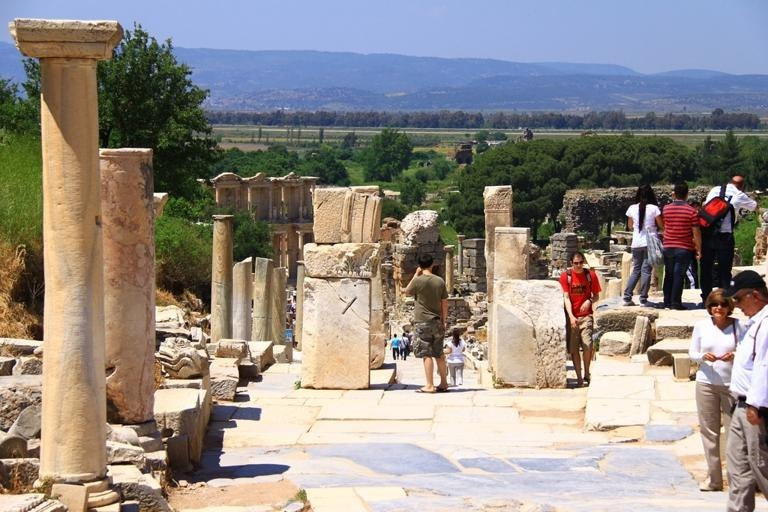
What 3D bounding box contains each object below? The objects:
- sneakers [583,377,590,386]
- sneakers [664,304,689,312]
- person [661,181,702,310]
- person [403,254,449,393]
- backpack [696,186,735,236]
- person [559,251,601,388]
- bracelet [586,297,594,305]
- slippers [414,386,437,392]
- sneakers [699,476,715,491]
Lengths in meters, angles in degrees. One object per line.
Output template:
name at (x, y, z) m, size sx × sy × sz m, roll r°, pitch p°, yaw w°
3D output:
sneakers at (2.975, 1.843, 16.496) m, size 0.119 × 0.126 × 0.114 m, roll 1°, pitch -8°, yaw 0°
sneakers at (4.573, 0.806, 17.581) m, size 0.357 × 0.147 × 0.112 m, roll -3°, pitch -8°, yaw 13°
person at (4.563, -0.141, 17.291) m, size 0.589 × 1.978 × 0.957 m, roll 0°, pitch 4°, yaw 15°
person at (0.612, 0.953, 15.833) m, size 0.563 × 1.953 × 0.690 m, roll 0°, pitch 4°, yaw 3°
backpack at (5.168, -0.652, 17.433) m, size 0.580 × 0.598 × 0.420 m, roll 5°, pitch 29°, yaw -46°
person at (2.841, 0.910, 16.373) m, size 0.560 × 1.940 × 1.310 m, roll 0°, pitch 4°, yaw 10°
bracelet at (2.980, 0.666, 16.245) m, size 0.083 × 0.086 × 0.112 m, roll 0°, pitch 0°, yaw 14°
slippers at (0.595, 1.901, 15.918) m, size 0.208 × 0.067 × 0.115 m, roll 2°, pitch 1°, yaw 32°
sneakers at (3.560, 2.517, 12.460) m, size 0.167 × 0.135 × 0.220 m, roll -1°, pitch 4°, yaw -11°
